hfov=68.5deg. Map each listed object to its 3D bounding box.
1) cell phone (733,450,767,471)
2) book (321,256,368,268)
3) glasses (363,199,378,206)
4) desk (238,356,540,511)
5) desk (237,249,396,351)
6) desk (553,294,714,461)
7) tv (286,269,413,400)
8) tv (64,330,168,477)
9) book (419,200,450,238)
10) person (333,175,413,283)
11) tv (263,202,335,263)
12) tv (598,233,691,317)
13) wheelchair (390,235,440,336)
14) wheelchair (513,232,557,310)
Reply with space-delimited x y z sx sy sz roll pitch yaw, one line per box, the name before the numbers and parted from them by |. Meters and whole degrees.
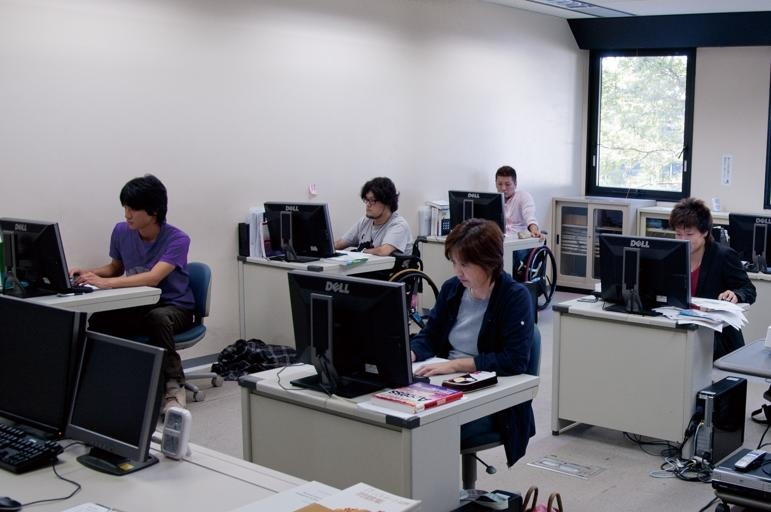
cell phone | 1.925 1.077 2.992 0.080 0.063 0.276 -3 10 44
book | -0.342 0.045 4.746 0.260 0.054 0.391 9 14 41
glasses | -0.143 -0.502 5.300 0.053 0.053 0.166 -10 14 -42
desk | 0.037 0.510 2.463 0.895 0.452 0.691 5 9 43
desk | -0.647 0.344 5.181 1.154 1.069 0.890 5 10 40
desk | 1.724 0.855 3.895 0.612 0.866 0.973 9 -7 -38
tv | -0.157 0.351 2.402 0.664 0.476 0.264 6 15 34
tv | -0.936 0.518 1.945 0.432 0.403 0.212 7 12 33
book | 0.525 -0.415 6.379 0.362 0.394 0.428 2 5 34
person | 0.083 -0.344 5.581 0.793 0.916 0.742 1 3 -41
tv | -0.757 -0.213 4.852 0.679 0.484 0.218 8 13 37
tv | 1.626 0.132 3.556 0.483 0.348 0.181 7 22 36
wheelchair | 0.284 0.235 5.134 0.596 0.825 0.534 -10 6 13
wheelchair | 1.683 0.220 6.671 0.569 0.678 0.717 1 -2 37
